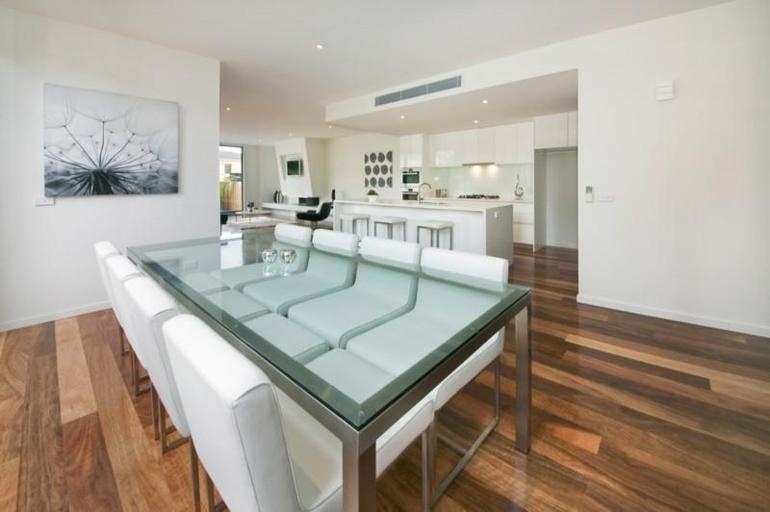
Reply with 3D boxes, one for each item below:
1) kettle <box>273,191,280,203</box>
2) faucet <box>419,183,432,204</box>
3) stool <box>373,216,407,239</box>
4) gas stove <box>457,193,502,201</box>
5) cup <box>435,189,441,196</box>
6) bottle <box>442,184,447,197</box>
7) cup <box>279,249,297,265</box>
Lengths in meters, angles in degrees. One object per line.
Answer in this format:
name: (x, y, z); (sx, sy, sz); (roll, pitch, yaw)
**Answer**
kettle: (-3.543, -1.963, 15.508); (0.213, 0.379, 0.368); (-2, 12, -15)
faucet: (0.881, -1.428, 10.331); (0.209, 0.392, 0.560); (3, 11, 8)
stool: (0.092, -0.491, 7.449); (0.395, 0.564, 0.404); (7, 9, 43)
gas stove: (1.914, -1.262, 9.913); (0.982, 0.111, 0.461); (8, 13, 30)
cup: (1.173, -1.415, 10.586); (0.148, 0.148, 0.094); (4, 12, 14)
bottle: (1.318, -1.468, 10.593); (0.114, 0.244, 0.142); (1, 11, -1)
cup: (-0.887, 0.007, 4.275); (0.135, 0.120, 0.139); (1, 0, 0)
